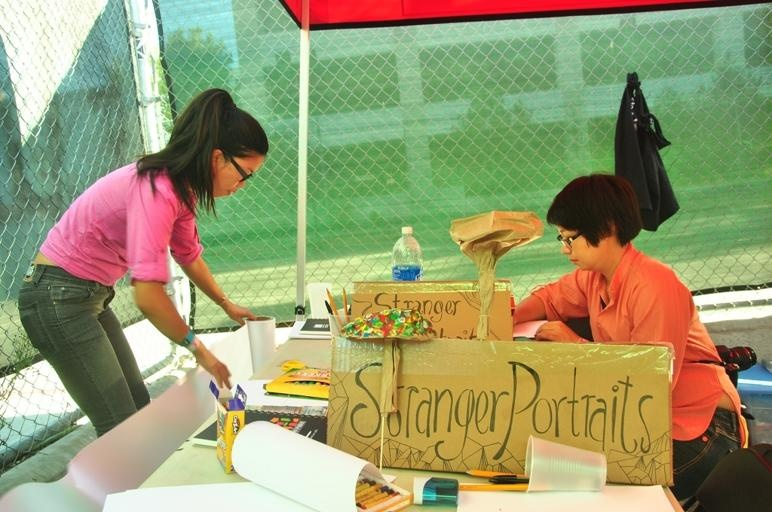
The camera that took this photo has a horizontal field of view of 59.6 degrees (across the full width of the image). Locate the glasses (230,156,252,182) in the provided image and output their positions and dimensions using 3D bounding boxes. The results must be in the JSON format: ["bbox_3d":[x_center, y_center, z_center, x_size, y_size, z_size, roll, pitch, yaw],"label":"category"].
[{"bbox_3d":[-0.578,-0.338,2.601,0.024,0.082,0.081,-43,-30,7],"label":"glasses"}]

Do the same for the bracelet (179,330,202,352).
[{"bbox_3d":[-0.740,0.327,2.532,0.069,0.069,0.070,-17,-17,-9],"label":"bracelet"}]

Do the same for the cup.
[{"bbox_3d":[0.527,0.612,2.028,0.276,0.184,0.181,-1,8,0],"label":"cup"}]

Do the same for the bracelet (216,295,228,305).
[{"bbox_3d":[-0.730,0.199,2.990,0.040,0.030,0.041,-6,-14,27],"label":"bracelet"}]
